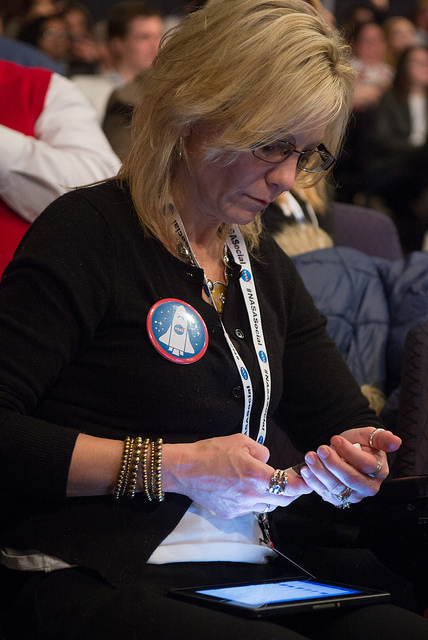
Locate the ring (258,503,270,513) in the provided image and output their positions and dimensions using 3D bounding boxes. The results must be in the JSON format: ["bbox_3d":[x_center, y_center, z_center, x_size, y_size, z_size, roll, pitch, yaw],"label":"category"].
[{"bbox_3d":[0.080,0.293,0.888,0.017,0.021,0.008,-9,18,-41],"label":"ring"}]

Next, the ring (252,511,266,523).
[{"bbox_3d":[0.075,0.332,0.951,0.018,0.022,0.008,-3,4,-5],"label":"ring"}]

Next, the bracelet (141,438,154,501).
[{"bbox_3d":[-0.091,0.199,0.753,0.013,0.057,0.048,-6,1,3],"label":"bracelet"}]

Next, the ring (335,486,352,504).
[{"bbox_3d":[0.205,0.277,0.899,0.023,0.031,0.046,8,-7,15],"label":"ring"}]

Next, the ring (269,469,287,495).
[{"bbox_3d":[0.091,0.230,0.799,0.023,0.037,0.044,9,-7,9],"label":"ring"}]

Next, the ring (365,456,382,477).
[{"bbox_3d":[0.250,0.233,0.891,0.024,0.023,0.008,-31,20,-33],"label":"ring"}]

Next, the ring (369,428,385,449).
[{"bbox_3d":[0.273,0.201,0.961,0.020,0.033,0.021,10,-7,1],"label":"ring"}]
